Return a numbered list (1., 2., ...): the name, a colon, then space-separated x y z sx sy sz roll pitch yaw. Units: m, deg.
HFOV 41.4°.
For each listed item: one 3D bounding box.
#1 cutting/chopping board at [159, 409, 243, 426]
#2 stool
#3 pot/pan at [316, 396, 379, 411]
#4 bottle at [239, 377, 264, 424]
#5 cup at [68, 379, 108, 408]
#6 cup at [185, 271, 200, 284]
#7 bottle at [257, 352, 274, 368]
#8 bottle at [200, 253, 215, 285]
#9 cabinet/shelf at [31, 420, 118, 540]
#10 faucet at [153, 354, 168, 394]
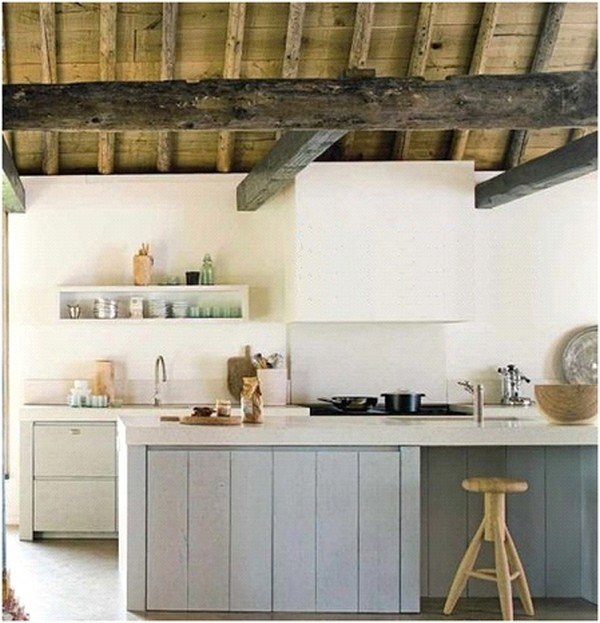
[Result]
1. cutting/chopping board: -0.576 0.621 4.604 0.627 0.056 0.321 -3 -4 43
2. stool: 1.038 1.302 4.424 0.498 0.806 0.541 -1 -3 15
3. pot/pan: 0.386 0.751 6.495 0.344 0.107 0.495 1 -3 -26
4. bottle: -0.275 0.516 4.591 0.113 0.255 0.218 -1 -3 -4
5. cup: -1.707 0.655 6.396 0.331 0.232 0.205 2 -5 -12
6. cup: -0.902 -0.272 6.684 0.124 0.113 0.103 0 -3 -7
7. bottle: -0.293 0.406 6.515 0.042 0.115 0.121 -31 -41 30
8. bottle: -0.788 -0.351 6.774 0.124 0.294 0.297 0 -3 -6
9. cabinet/shelf: -1.870 1.449 6.398 0.766 0.945 0.686 5 -33 -24
10. faucet: -1.176 0.539 6.740 0.109 0.325 0.173 0 -3 -9
